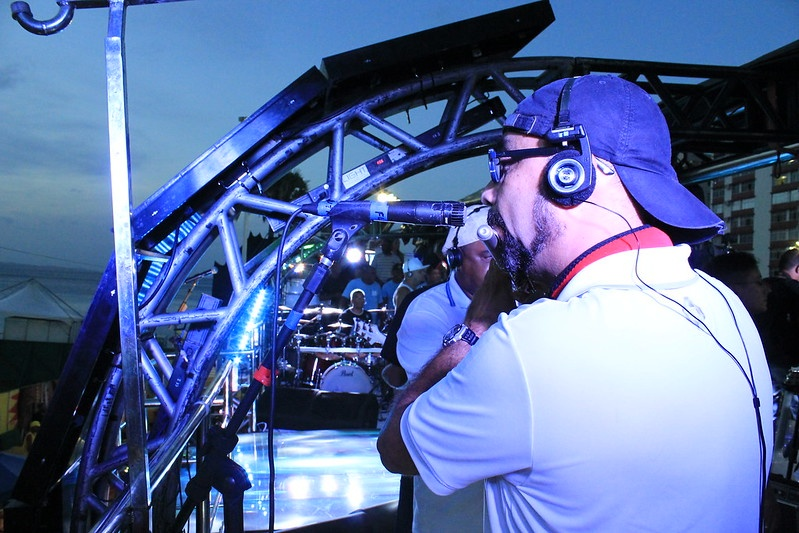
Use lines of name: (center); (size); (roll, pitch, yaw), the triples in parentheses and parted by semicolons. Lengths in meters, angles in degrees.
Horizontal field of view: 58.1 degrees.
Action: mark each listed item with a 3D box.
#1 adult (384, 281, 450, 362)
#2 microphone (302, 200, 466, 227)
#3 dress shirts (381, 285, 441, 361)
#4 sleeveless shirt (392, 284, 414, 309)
adult: (0.208, 0.575, 6.868); (0.161, 0.737, 0.679); (15, -24, -22)
microphone: (-0.110, -0.438, 5.903); (1.196, 0.195, 0.198); (5, 2, 13)
dress shirts: (0.028, 0.525, 6.784); (0.126, 0.663, 0.648); (23, -29, 5)
sleeveless shirt: (0.042, 0.390, 9.487); (0.183, 0.281, 0.339); (-9, 30, -28)
